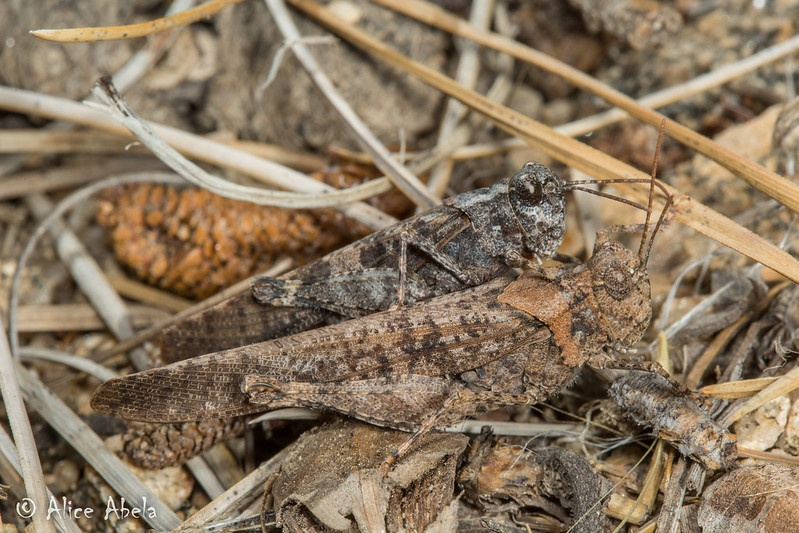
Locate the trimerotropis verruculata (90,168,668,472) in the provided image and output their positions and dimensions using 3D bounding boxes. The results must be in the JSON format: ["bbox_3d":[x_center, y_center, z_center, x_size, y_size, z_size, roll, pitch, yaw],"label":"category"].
[{"bbox_3d":[-0.023,0.195,3.932,2.086,0.711,0.716,-12,51,-9],"label":"trimerotropis verruculata"}]
